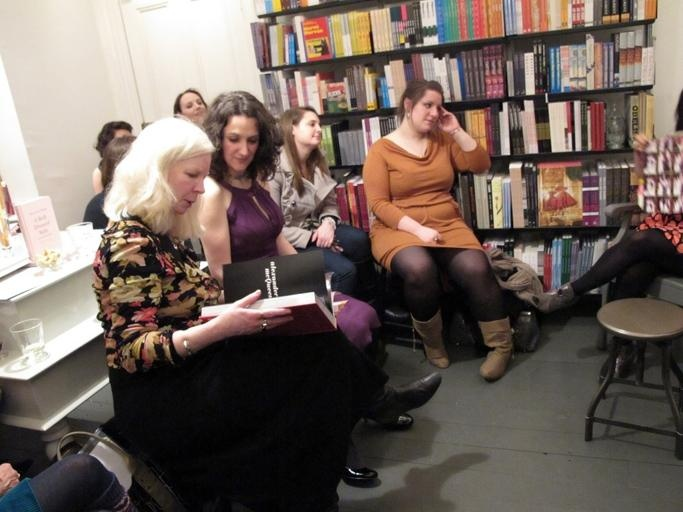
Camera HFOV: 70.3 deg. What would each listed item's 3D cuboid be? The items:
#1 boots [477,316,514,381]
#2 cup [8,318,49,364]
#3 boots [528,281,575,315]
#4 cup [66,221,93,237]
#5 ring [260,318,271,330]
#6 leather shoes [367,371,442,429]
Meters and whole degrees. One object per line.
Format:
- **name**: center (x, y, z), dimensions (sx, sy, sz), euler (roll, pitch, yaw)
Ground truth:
- **boots**: center (0.869, 0.529, 2.737), dimensions (0.173, 0.298, 0.217), euler (-3, 19, 15)
- **cup**: center (-1.286, 0.354, 1.998), dimensions (0.118, 0.173, 0.108), euler (-7, 18, 2)
- **boots**: center (1.303, 0.272, 3.013), dimensions (0.258, 0.112, 0.140), euler (-17, 23, -4)
- **cup**: center (-1.347, -0.135, 2.491), dimensions (0.097, 0.056, 0.098), euler (-7, 6, 1)
- **ring**: center (-0.244, 0.220, 1.557), dimensions (0.032, 0.032, 0.012), euler (9, 8, 28)
- **leather shoes**: center (0.296, 0.686, 2.255), dimensions (0.377, 0.261, 0.147), euler (-33, 54, -6)
